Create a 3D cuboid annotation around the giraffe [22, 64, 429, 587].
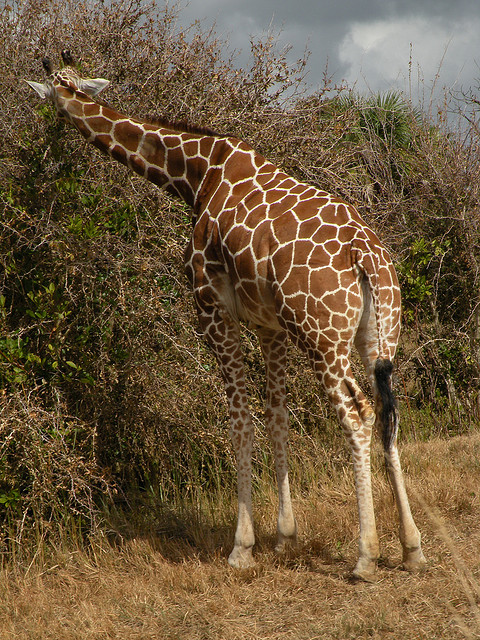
[{"bbox_3d":[0.090,-0.097,5.811,1.908,3.556,0.748,-11,-14,30],"label":"giraffe"}]
